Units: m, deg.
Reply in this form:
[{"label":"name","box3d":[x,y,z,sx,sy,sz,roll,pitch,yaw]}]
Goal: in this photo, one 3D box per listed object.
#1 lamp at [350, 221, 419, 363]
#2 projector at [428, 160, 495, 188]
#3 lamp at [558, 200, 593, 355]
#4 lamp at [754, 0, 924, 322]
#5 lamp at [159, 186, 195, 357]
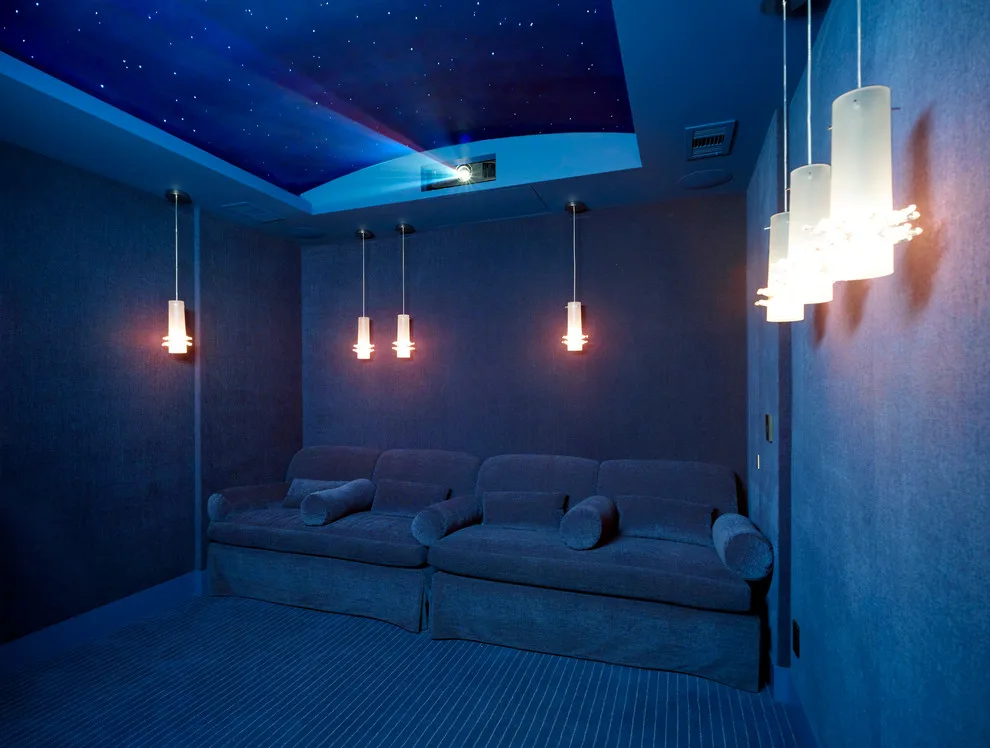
[{"label":"lamp","box3d":[-0.910,-0.655,6.067,0.598,1.096,0.371,3,12,16]},{"label":"projector","box3d":[-0.257,-1.362,5.115,0.549,0.227,0.060,4,12,20]},{"label":"lamp","box3d":[0.570,-0.666,5.446,0.206,1.013,0.345,0,11,3]},{"label":"lamp","box3d":[1.336,-0.886,3.062,0.475,1.411,1.019,1,12,7]},{"label":"lamp","box3d":[-2.239,-0.689,5.250,0.206,1.152,0.446,-2,12,-10]}]
